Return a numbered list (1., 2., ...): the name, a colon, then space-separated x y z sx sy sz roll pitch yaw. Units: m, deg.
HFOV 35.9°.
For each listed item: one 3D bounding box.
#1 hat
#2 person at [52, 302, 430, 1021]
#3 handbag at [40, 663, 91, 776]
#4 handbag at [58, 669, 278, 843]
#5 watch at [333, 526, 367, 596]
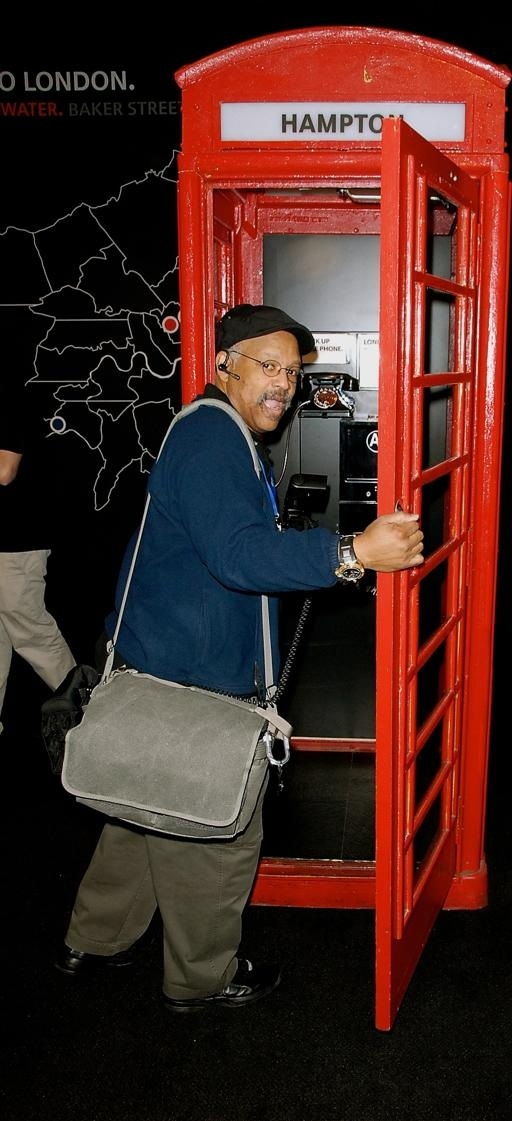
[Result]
1. hat: 0.008 -0.479 1.609 0.156 0.094 0.130 2 20 12
2. person: -0.018 0.214 1.652 0.629 1.455 0.684 10 10 28
3. handbag: -0.409 0.298 1.670 0.092 0.057 0.144 -14 15 -4
4. handbag: -0.166 0.352 1.465 0.299 0.314 0.122 14 -1 15
5. watch: 0.151 -0.001 1.300 0.047 0.098 0.089 1 -22 6
